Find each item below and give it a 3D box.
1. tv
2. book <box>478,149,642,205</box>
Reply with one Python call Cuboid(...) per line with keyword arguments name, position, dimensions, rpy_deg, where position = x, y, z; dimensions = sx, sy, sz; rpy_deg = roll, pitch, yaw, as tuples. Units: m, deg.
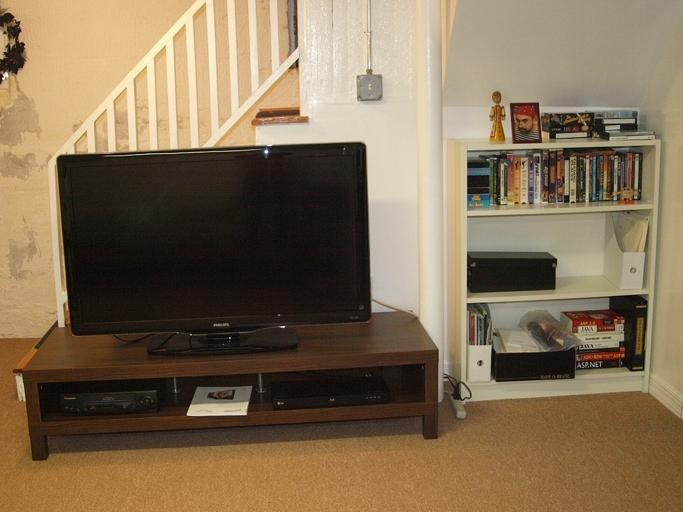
Cuboid(name="tv", position=(-0.587, -0.040, 3.102), dimensions=(1.065, 0.660, 0.279), rpy_deg=(-1, 16, 0))
Cuboid(name="book", position=(1.108, -0.413, 3.455), dimensions=(0.926, 0.282, 0.147), rpy_deg=(-3, 12, -1))
